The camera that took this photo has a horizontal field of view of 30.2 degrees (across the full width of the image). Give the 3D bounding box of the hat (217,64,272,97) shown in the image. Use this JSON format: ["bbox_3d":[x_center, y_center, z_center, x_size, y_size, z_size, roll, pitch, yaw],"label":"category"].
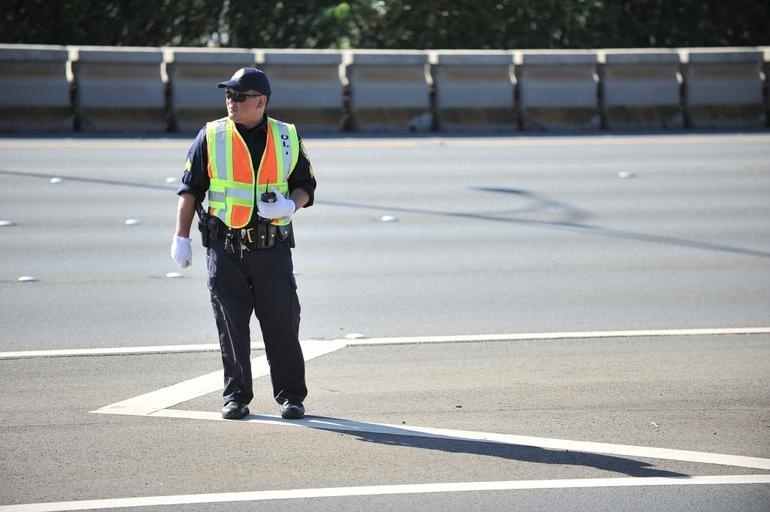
[{"bbox_3d":[-1.411,-1.757,14.359,0.471,0.203,0.294,15,9,-16],"label":"hat"}]

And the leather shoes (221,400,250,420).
[{"bbox_3d":[-1.495,1.560,14.285,0.326,0.109,0.121,-1,-20,-1],"label":"leather shoes"}]

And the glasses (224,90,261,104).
[{"bbox_3d":[-1.408,-1.597,14.309,0.346,0.121,0.117,0,6,0],"label":"glasses"}]

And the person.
[{"bbox_3d":[-1.378,-0.115,14.343,1.339,3.485,0.510,0,6,-3],"label":"person"}]

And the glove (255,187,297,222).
[{"bbox_3d":[-1.077,-0.487,14.304,0.412,0.337,0.263,-3,7,-30],"label":"glove"}]
